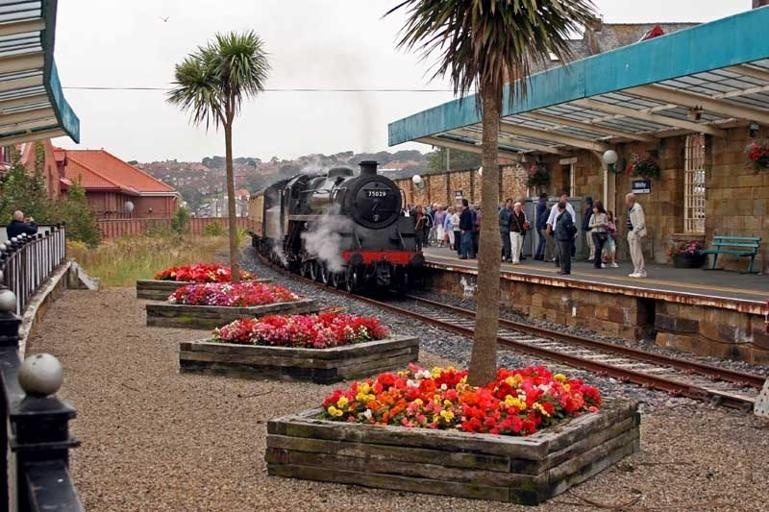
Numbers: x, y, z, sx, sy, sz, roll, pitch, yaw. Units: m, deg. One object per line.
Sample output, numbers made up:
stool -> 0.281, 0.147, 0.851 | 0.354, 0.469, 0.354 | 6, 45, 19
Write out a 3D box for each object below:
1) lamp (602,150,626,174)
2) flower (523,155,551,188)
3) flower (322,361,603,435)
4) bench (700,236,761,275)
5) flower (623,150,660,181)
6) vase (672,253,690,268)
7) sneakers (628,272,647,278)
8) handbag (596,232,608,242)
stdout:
lamp -> 7.390, -3.027, 21.660 | 0.682, 0.704, 0.673 | 1, 6, 9
flower -> 5.895, -3.209, 25.721 | 0.864, 1.201, 0.655 | 2, 3, 9
flower -> 0.901, 1.561, 7.520 | 2.887, 0.422, 1.405 | 1, 6, 11
bench -> 9.102, -0.091, 17.739 | 0.846, 0.934, 1.831 | -2, 6, -19
flower -> 7.926, -2.782, 20.639 | 0.833, 0.879, 0.812 | -18, 23, -34
vase -> 8.375, 0.129, 19.016 | 0.357, 0.272, 0.363 | 2, -1, -3
sneakers -> 6.277, 0.476, 16.641 | 0.323, 0.119, 0.188 | 6, -5, -37
handbag -> 6.287, -0.563, 19.448 | 0.236, 0.115, 0.309 | 16, -33, -36
